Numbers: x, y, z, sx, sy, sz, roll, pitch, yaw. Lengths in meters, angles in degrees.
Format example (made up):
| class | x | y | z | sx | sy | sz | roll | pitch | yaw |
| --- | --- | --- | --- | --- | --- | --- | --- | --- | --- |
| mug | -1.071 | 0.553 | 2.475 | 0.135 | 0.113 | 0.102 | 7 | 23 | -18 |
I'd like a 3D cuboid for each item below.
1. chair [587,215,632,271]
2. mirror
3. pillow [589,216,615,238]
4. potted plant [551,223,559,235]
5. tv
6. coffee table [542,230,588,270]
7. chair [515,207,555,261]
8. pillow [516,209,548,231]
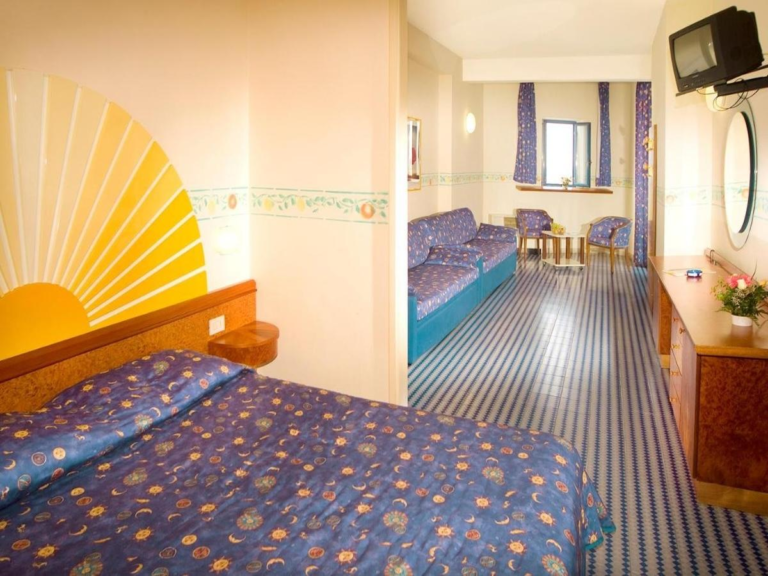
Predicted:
| class | x | y | z | sx | sy | sz | roll | pitch | yaw |
| --- | --- | --- | --- | --- | --- | --- | --- | --- | --- |
| chair | 4.168 | -0.866 | 9.006 | 0.773 | 0.858 | 0.849 | 0 | 16 | 2 |
| mirror | 3.161 | -0.974 | 4.326 | 0.084 | 1.231 | 1.029 | 4 | 13 | 25 |
| pillow | 4.043 | -1.122 | 9.091 | 0.409 | 0.521 | 0.364 | -9 | 13 | -39 |
| potted plant | 3.304 | -1.089 | 9.399 | 0.139 | 0.198 | 0.271 | 5 | 9 | 26 |
| tv | 2.537 | -1.760 | 3.773 | 0.305 | 0.544 | 0.807 | 1 | 13 | 9 |
| coffee table | 3.625 | -0.734 | 9.938 | 0.681 | 0.832 | 1.273 | -4 | 11 | -4 |
| chair | 3.146 | -1.170 | 10.205 | 0.606 | 0.950 | 0.611 | -3 | 11 | 0 |
| pillow | 3.115 | -1.429 | 10.244 | 0.561 | 0.482 | 0.464 | -3 | 10 | -15 |
